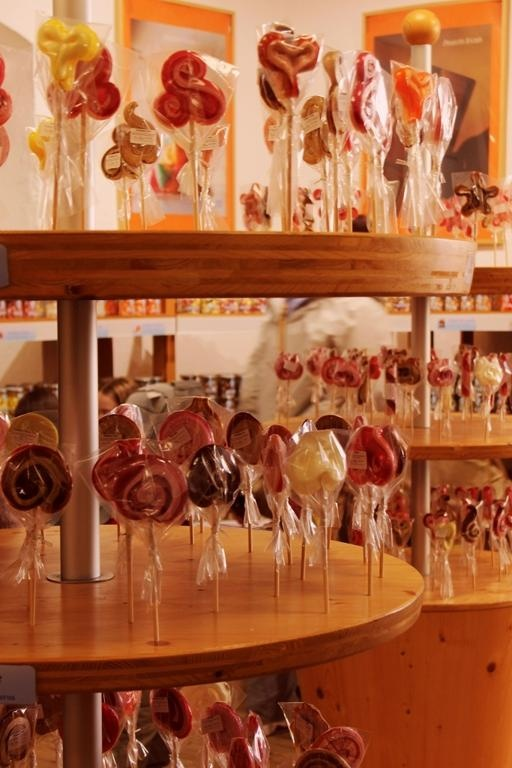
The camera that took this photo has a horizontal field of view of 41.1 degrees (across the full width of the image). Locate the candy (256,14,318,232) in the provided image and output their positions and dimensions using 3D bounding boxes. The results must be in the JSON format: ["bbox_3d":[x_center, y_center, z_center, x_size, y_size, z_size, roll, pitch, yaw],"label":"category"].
[{"bbox_3d":[0.058,-0.420,1.125,0.097,0.297,0.049,-2,11,-5],"label":"candy"}]

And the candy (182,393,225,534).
[{"bbox_3d":[-0.107,0.147,1.292,0.082,0.256,0.080,11,-26,-40],"label":"candy"}]

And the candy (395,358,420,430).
[{"bbox_3d":[0.482,0.026,2.151,0.054,0.199,0.148,5,15,-10],"label":"candy"}]

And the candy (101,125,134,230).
[{"bbox_3d":[-0.294,-0.441,1.493,0.087,0.045,0.310,-22,-25,-21],"label":"candy"}]

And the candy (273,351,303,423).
[{"bbox_3d":[0.133,0.043,2.685,0.146,0.335,0.052,-3,5,-36],"label":"candy"}]

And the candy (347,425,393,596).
[{"bbox_3d":[0.191,0.195,1.120,0.097,0.264,0.051,-2,5,18],"label":"candy"}]

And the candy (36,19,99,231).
[{"bbox_3d":[-0.260,-0.362,0.941,0.097,0.306,0.037,0,-14,-24],"label":"candy"}]

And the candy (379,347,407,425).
[{"bbox_3d":[0.447,0.003,2.175,0.073,0.235,0.055,-2,17,18],"label":"candy"}]

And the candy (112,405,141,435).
[{"bbox_3d":[-0.232,0.061,1.273,0.062,0.060,0.058,2,-23,-17],"label":"candy"}]
